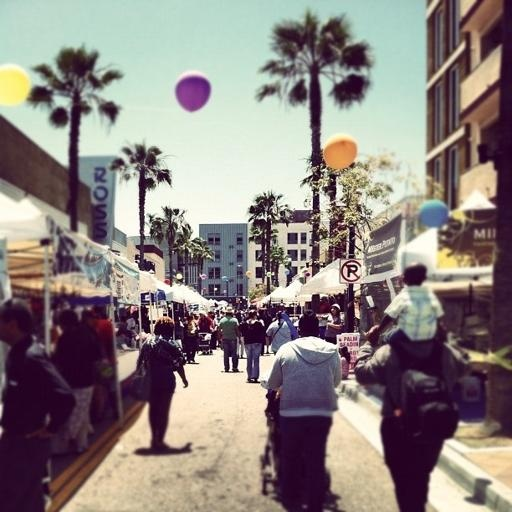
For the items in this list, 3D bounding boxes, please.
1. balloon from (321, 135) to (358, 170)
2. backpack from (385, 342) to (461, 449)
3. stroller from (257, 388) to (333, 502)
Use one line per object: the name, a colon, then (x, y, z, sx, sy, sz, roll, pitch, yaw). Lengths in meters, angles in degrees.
balloon: (1.222, -1.518, 8.056, 0.442, 0.309, 0.556, 0, -9, 1)
backpack: (1.197, 0.976, 3.975, 0.491, 0.690, 0.252, 1, -6, -4)
stroller: (0.367, 2.215, 7.141, 0.521, 0.865, 1.189, 1, -6, 1)
